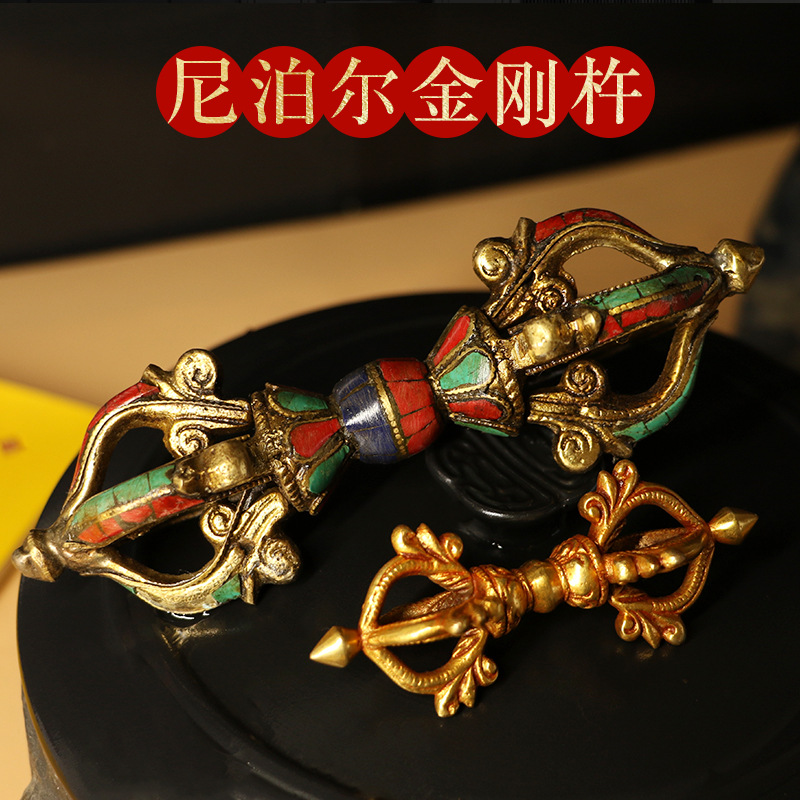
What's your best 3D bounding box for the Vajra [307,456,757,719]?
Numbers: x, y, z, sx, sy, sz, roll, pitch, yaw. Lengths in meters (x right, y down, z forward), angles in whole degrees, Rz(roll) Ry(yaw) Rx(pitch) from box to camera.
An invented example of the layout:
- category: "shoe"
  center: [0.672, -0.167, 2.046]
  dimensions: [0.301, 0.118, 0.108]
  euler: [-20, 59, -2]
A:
- category: "Vajra"
  center: [0.159, 0.196, 1.146]
  dimensions: [0.586, 0.202, 0.163]
  euler: [-9, 3, -14]
